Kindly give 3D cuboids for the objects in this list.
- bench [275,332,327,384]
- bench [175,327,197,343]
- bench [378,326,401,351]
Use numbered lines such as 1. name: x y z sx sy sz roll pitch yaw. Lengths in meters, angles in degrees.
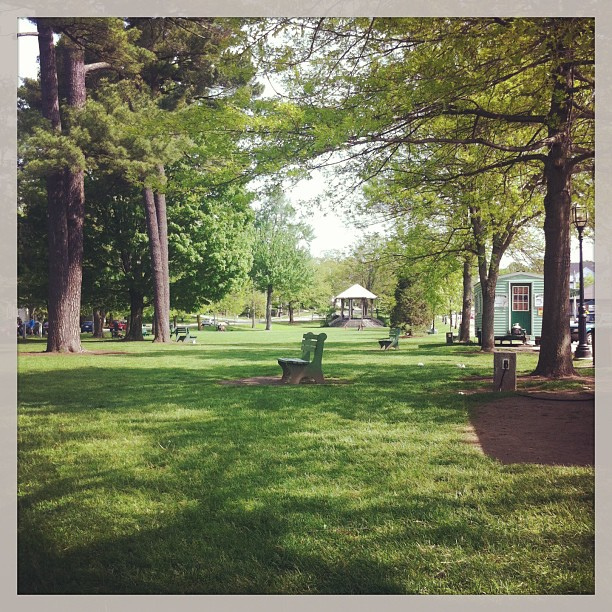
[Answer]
1. bench: -0.087 1.043 16.671 0.750 1.049 1.187 0 0 -16
2. bench: -4.036 1.034 28.750 0.474 0.756 0.685 1 -5 -24
3. bench: 2.489 1.030 24.914 0.643 0.962 0.666 3 -4 -22
